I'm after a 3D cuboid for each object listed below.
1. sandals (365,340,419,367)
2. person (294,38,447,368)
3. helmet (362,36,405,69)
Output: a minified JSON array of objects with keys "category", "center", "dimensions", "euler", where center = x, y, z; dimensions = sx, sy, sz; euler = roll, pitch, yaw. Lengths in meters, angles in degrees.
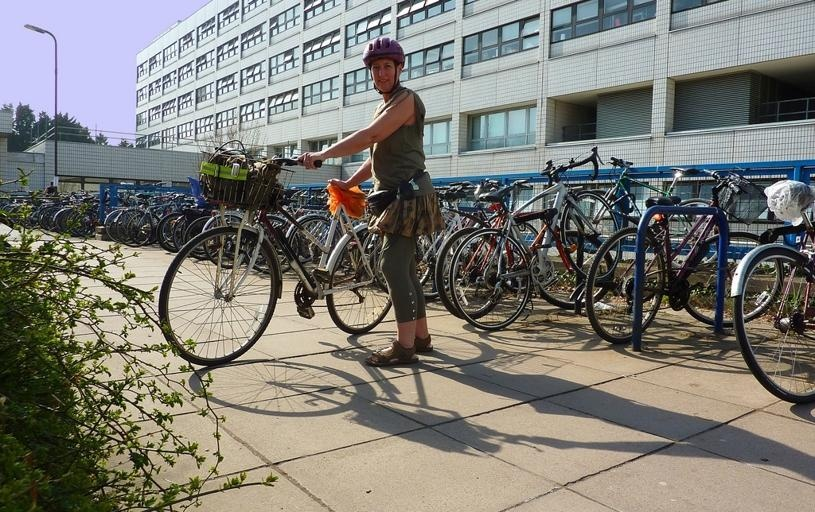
[{"category":"sandals","center":[-0.129,0.807,4.485],"dimensions":[0.407,0.146,0.166],"euler":[2,-6,-12]},{"category":"person","center":[-0.150,-0.418,4.404],"dimensions":[0.872,2.562,0.647],"euler":[1,12,-2]},{"category":"helmet","center":[-0.187,-1.652,4.477],"dimensions":[0.299,0.279,0.487],"euler":[1,10,2]}]
